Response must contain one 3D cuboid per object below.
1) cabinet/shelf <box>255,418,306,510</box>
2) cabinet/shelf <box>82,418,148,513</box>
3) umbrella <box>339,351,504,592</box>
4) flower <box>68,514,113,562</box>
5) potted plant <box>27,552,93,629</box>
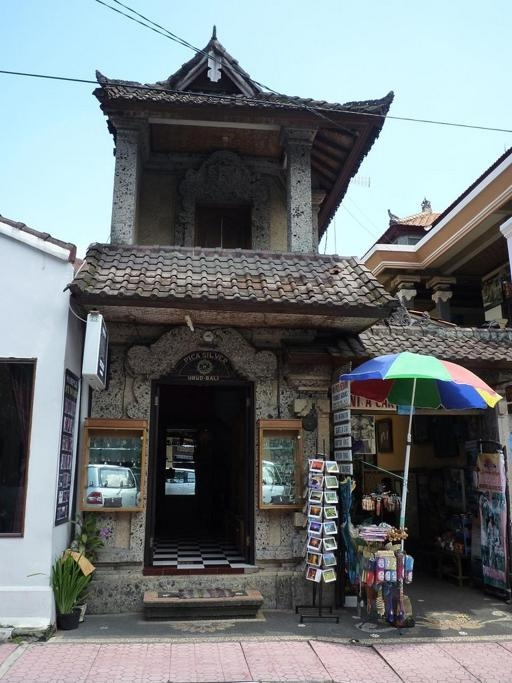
[{"bbox_3d":[0.217,1.612,6.964,0.625,1.141,0.403,4,-8,-26],"label":"cabinet/shelf"},{"bbox_3d":[-1.689,1.471,6.342,0.748,1.022,0.307,0,-11,-5],"label":"cabinet/shelf"},{"bbox_3d":[1.765,1.059,5.965,1.595,1.751,1.651,1,-16,19],"label":"umbrella"},{"bbox_3d":[-1.950,2.286,6.028,0.408,0.541,0.305,1,-13,22],"label":"flower"},{"bbox_3d":[-1.894,2.499,5.419,0.737,0.769,0.557,-10,-16,29],"label":"potted plant"}]
